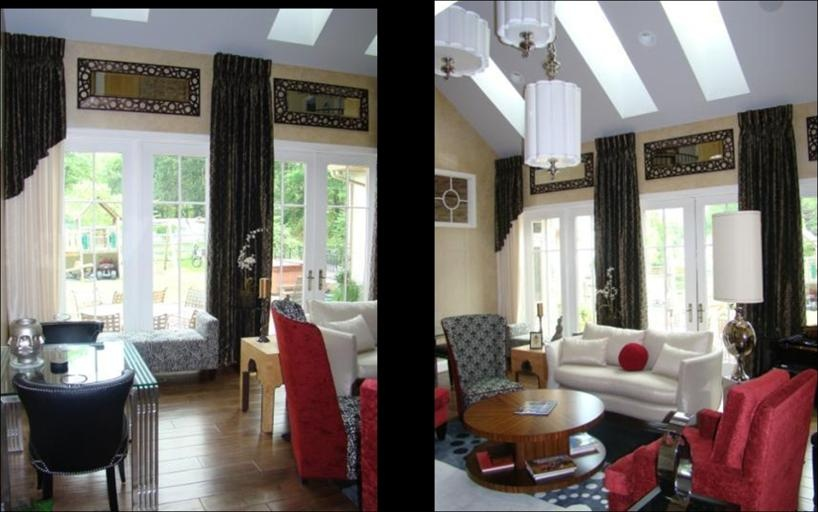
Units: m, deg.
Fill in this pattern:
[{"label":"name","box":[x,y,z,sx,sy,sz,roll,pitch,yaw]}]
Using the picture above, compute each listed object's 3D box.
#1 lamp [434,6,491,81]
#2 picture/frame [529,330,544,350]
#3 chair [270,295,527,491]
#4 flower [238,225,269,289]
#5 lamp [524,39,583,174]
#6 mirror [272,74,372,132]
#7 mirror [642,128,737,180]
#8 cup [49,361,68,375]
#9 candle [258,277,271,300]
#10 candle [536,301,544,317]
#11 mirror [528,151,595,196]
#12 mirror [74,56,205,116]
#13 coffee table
[{"label":"lamp","box":[0.292,-1.186,3.019,0.306,0.330,0.228,-3,-3,-1]},{"label":"picture/frame","box":[0.979,0.650,4.199,0.149,0.180,0.021,2,-16,2]},{"label":"chair","box":[-0.339,0.816,3.373,0.939,1.012,0.785,0,1,-11]},{"label":"flower","box":[-1.227,-0.001,4.218,0.291,0.447,0.204,-5,-3,37]},{"label":"lamp","box":[0.857,-0.768,3.265,0.330,0.578,0.188,-4,-3,14]},{"label":"mirror","box":[-0.743,-1.248,4.494,0.844,0.459,0.020,4,-29,-20]},{"label":"mirror","box":[2.240,-0.825,4.529,0.614,0.345,0.016,-3,26,40]},{"label":"cup","box":[-1.961,0.626,3.073,0.069,0.040,0.069,3,1,0]},{"label":"candle","box":[-0.894,0.201,3.405,0.057,0.131,0.076,-2,-3,-15]},{"label":"candle","box":[0.982,0.406,4.098,0.034,0.110,0.127,-3,-3,6]},{"label":"mirror","box":[1.439,-0.770,5.170,0.619,0.350,0.020,-6,-24,25]},{"label":"mirror","box":[-2.025,-1.259,4.107,0.830,0.447,0.022,-2,-20,-20]},{"label":"coffee table","box":[0.753,1.066,3.286,0.617,0.191,0.596,-5,6,-24]}]
